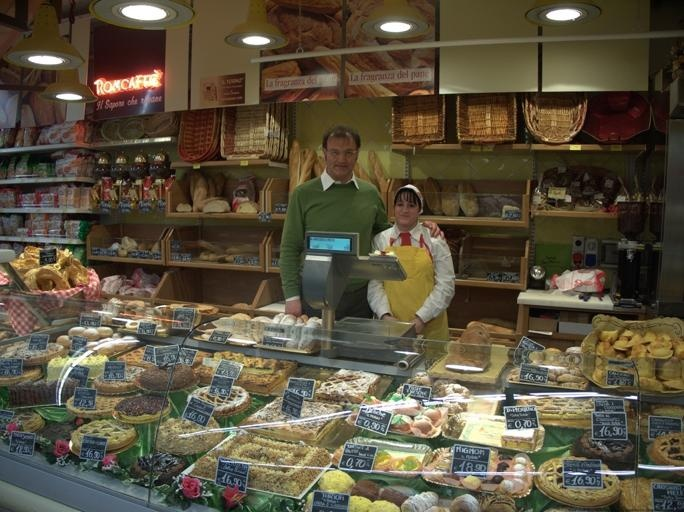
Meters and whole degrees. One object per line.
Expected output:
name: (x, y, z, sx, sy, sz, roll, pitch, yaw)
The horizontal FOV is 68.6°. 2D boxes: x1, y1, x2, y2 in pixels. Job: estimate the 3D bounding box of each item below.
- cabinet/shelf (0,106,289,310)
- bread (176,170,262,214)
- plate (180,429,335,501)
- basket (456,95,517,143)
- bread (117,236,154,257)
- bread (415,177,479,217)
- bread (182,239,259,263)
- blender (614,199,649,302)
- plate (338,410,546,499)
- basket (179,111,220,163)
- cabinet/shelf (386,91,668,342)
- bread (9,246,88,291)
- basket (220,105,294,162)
cabinet/shelf: (-1.794, -0.483, 4.892, 2.909, 0.998, 0.455, 3, 0, 19)
bread: (-1.276, -0.648, 5.022, 1.135, 0.493, 0.412, 1, 1, 25)
plate: (-0.301, 0.747, 1.819, 0.523, 0.162, 0.125, 1, 1, 16)
basket: (1.162, -1.100, 4.005, 0.520, 0.396, 0.179, -3, -5, 19)
bread: (-2.208, -0.076, 5.285, 0.306, 0.134, 0.298, 1, -6, 1)
bread: (0.893, -0.480, 4.203, 0.496, 0.155, 0.435, 1, 10, 11)
bread: (-1.151, -0.030, 4.901, 0.944, 0.221, 0.333, 1, 1, 33)
blender: (2.143, -0.041, 3.704, 0.188, 0.719, 0.345, 1, 1, 27)
plate: (0.487, 0.675, 1.725, 0.391, 0.212, 0.171, 1, 1, 18)
basket: (-1.363, -1.145, 4.827, 0.492, 0.485, 0.188, 1, 1, 20)
cabinet/shelf: (1.474, -0.332, 3.809, 2.772, 1.923, 0.726, 0, 1, 14)
bread: (-1.873, 0.078, 3.129, 0.395, 0.125, 0.350, 6, 5, 33)
basket: (-0.816, -1.152, 4.675, 0.640, 0.545, 0.339, 0, 1, -8)
